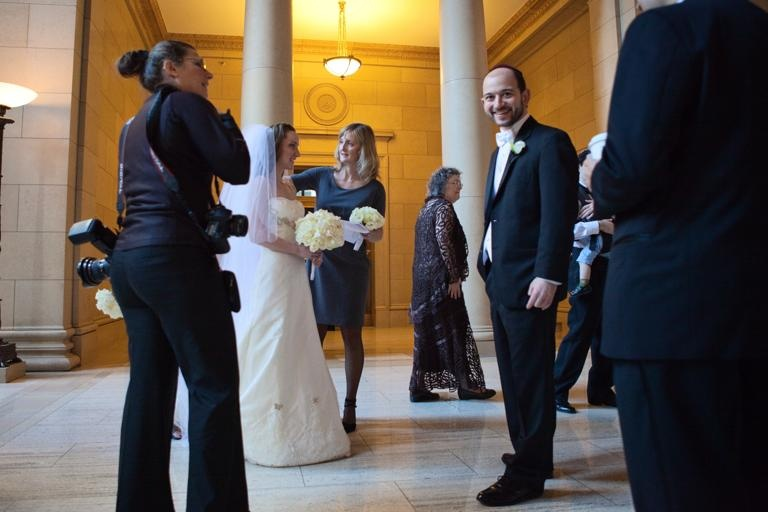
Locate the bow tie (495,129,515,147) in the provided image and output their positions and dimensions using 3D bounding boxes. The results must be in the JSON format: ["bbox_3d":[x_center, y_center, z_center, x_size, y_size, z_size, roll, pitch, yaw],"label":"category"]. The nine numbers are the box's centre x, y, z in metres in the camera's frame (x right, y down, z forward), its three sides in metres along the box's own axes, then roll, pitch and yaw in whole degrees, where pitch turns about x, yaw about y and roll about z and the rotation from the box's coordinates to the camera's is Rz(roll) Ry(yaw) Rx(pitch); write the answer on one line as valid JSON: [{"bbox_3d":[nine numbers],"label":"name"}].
[{"bbox_3d":[0.623,-0.602,2.888,0.030,0.091,0.089,3,-7,-44],"label":"bow tie"}]

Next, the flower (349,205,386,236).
[{"bbox_3d":[-0.117,-0.235,3.613,0.211,0.147,0.089,0,2,-4],"label":"flower"}]

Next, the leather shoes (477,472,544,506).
[{"bbox_3d":[0.601,1.116,2.787,0.340,0.163,0.127,0,-3,-11],"label":"leather shoes"}]

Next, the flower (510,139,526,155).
[{"bbox_3d":[0.648,-0.532,2.790,0.053,0.075,0.021,4,-10,35],"label":"flower"}]

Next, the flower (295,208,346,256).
[{"bbox_3d":[-0.371,-0.166,3.266,0.218,0.258,0.248,-10,21,-26],"label":"flower"}]

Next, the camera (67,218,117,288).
[{"bbox_3d":[-1.220,-0.010,2.411,0.157,0.276,0.144,-7,16,-11],"label":"camera"}]

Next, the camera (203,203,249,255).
[{"bbox_3d":[-0.617,-0.133,2.310,0.130,0.106,0.174,3,-7,23],"label":"camera"}]

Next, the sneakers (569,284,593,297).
[{"bbox_3d":[1.440,0.252,4.207,0.172,0.060,0.075,-20,-50,37],"label":"sneakers"}]

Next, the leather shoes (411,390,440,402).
[{"bbox_3d":[0.315,1.115,4.580,0.254,0.111,0.087,1,-2,-23],"label":"leather shoes"}]

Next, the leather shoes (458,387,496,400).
[{"bbox_3d":[0.727,1.065,4.567,0.296,0.125,0.114,-3,-5,-8],"label":"leather shoes"}]

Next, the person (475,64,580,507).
[{"bbox_3d":[0.700,0.104,2.815,0.474,2.123,0.426,0,2,9],"label":"person"}]
